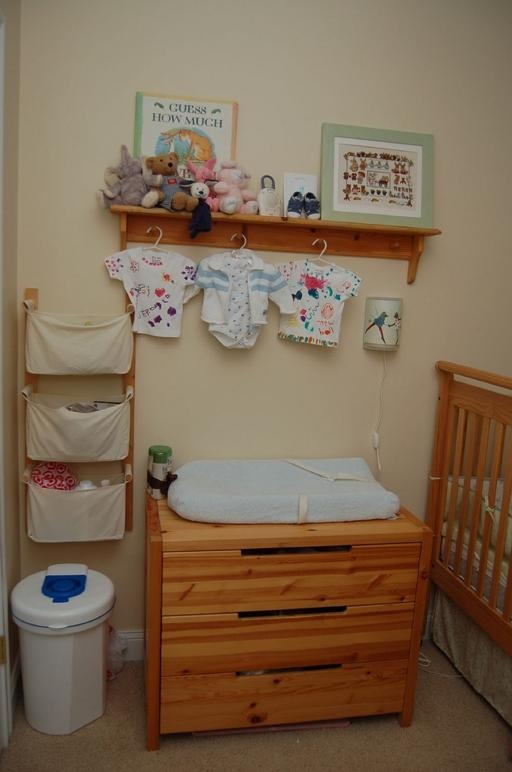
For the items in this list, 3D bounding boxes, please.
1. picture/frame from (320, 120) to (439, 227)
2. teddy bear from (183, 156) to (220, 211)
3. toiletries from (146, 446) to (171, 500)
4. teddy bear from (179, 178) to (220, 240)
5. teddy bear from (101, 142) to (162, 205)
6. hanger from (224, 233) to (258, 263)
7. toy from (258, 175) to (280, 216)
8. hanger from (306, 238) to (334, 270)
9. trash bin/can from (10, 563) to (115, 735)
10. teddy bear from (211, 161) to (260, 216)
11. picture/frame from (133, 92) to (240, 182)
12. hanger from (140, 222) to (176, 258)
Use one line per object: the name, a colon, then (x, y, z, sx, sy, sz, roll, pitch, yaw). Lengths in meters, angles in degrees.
picture/frame: (0.396, -0.717, 2.125, 0.379, 0.299, 0.029, 1, 0, -14)
teddy bear: (-0.170, -0.632, 1.982, 0.107, 0.183, 0.109, 7, -2, 3)
toiletries: (-0.317, 0.265, 2.069, 0.084, 0.161, 0.169, 0, 18, -9)
teddy bear: (-0.168, -0.536, 1.902, 0.091, 0.164, 0.058, -2, 11, -5)
teddy bear: (-0.385, -0.642, 1.919, 0.202, 0.214, 0.105, -2, 6, -9)
hanger: (-0.055, -0.454, 2.070, 0.102, 0.119, 0.008, 0, 1, -5)
toy: (0.042, -0.600, 2.023, 0.081, 0.146, 0.044, -2, -1, -15)
hanger: (0.214, -0.450, 2.139, 0.107, 0.075, 0.003, 3, 16, 2)
trash bin/can: (-0.524, 0.778, 1.984, 0.377, 0.490, 0.397, 2, 17, -2)
teddy bear: (-0.061, -0.612, 1.961, 0.150, 0.152, 0.118, -1, 18, -12)
picture/frame: (-0.233, -0.787, 1.981, 0.312, 0.278, 0.041, 0, 8, -15)
hanger: (-0.319, -0.471, 2.021, 0.112, 0.075, 0.004, 2, 11, 4)
